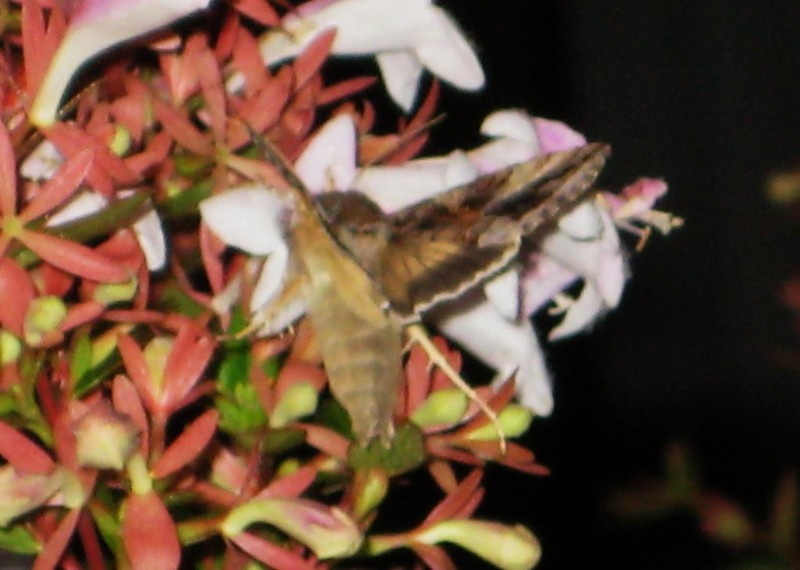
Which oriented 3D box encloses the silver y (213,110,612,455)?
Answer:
[{"bbox_3d":[0.009,0.013,0.840,0.227,0.192,0.124,3,-23,-27],"label":"silver y"}]
